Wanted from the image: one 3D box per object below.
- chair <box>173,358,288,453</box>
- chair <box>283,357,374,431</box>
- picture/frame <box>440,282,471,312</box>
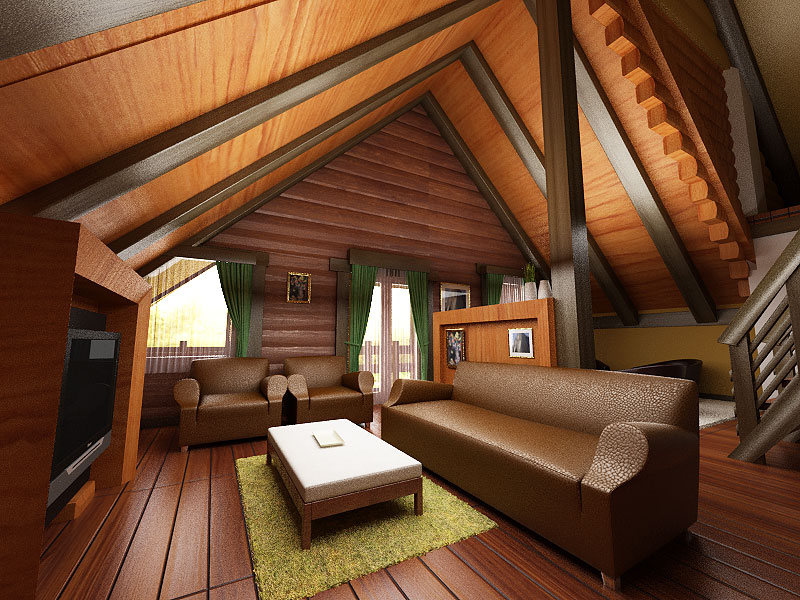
[{"bbox_3d":[-1.780,1.034,5.085,1.052,0.790,0.741,-1,3,-22],"label":"chair"},{"bbox_3d":[-0.919,1.062,5.659,1.023,0.744,0.969,1,-2,-26],"label":"chair"},{"bbox_3d":[0.838,-0.045,7.526,0.473,0.442,0.036,2,-4,-33],"label":"picture/frame"}]
